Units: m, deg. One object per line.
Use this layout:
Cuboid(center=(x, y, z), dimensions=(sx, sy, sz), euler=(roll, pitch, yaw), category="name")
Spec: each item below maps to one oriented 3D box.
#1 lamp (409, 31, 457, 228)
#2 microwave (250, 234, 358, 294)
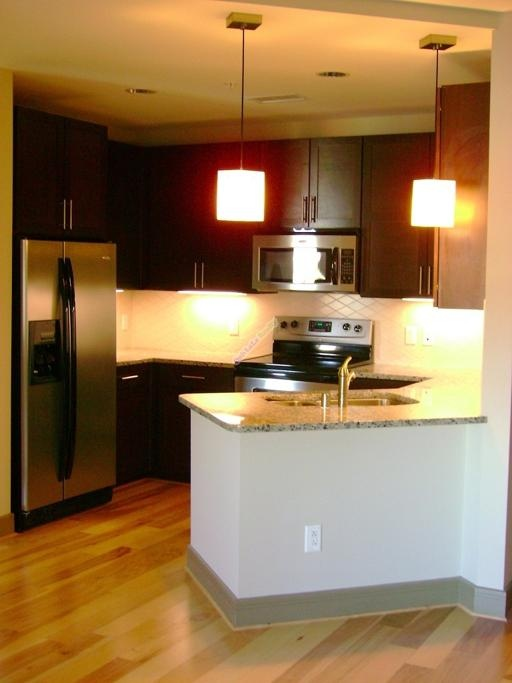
Cuboid(center=(0.827, -0.929, 2.734), dimensions=(0.185, 0.842, 0.582), euler=(3, 5, 17), category="lamp")
Cuboid(center=(0.404, -0.566, 4.471), dimensions=(0.836, 0.411, 0.388), euler=(4, 7, 25), category="microwave")
